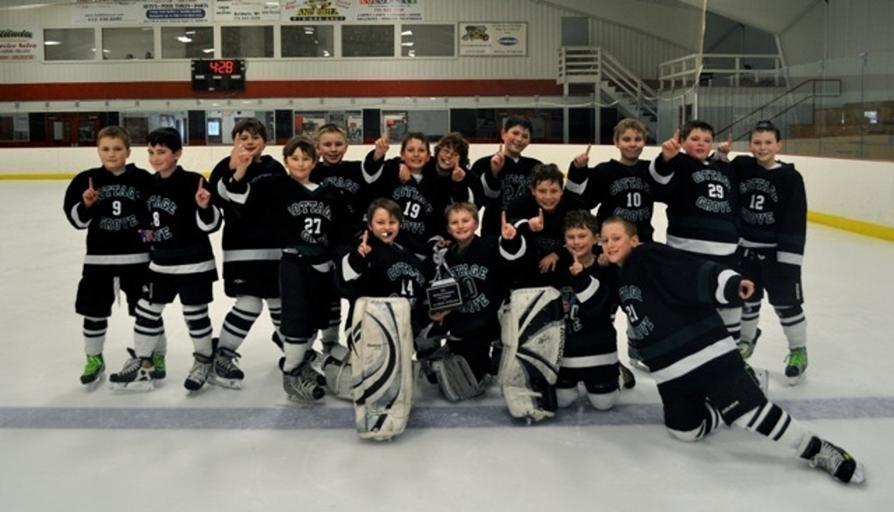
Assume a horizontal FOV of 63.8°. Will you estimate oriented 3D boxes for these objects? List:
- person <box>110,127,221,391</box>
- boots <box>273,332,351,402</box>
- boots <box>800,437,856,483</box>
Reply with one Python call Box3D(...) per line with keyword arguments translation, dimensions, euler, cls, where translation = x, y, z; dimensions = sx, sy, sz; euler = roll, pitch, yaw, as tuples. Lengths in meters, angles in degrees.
Box3D(translation=(-2.334, 0.193, 6.042), dimensions=(0.790, 1.798, 0.570), euler=(1, 10, 4), cls="person")
Box3D(translation=(-1.094, 0.923, 5.902), dimensions=(0.406, 0.308, 0.661), euler=(-3, 13, -10), cls="boots")
Box3D(translation=(2.727, 1.430, 5.030), dimensions=(0.401, 0.244, 0.157), euler=(30, -4, 23), cls="boots")
